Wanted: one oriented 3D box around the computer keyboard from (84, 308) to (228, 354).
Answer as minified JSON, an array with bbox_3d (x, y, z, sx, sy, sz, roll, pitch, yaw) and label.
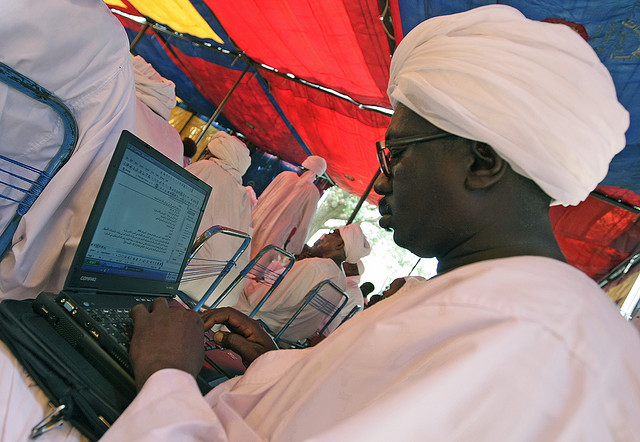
[{"bbox_3d":[-0.602,0.451,1.692,0.249,0.762,0.056,32,84,22],"label":"computer keyboard"}]
